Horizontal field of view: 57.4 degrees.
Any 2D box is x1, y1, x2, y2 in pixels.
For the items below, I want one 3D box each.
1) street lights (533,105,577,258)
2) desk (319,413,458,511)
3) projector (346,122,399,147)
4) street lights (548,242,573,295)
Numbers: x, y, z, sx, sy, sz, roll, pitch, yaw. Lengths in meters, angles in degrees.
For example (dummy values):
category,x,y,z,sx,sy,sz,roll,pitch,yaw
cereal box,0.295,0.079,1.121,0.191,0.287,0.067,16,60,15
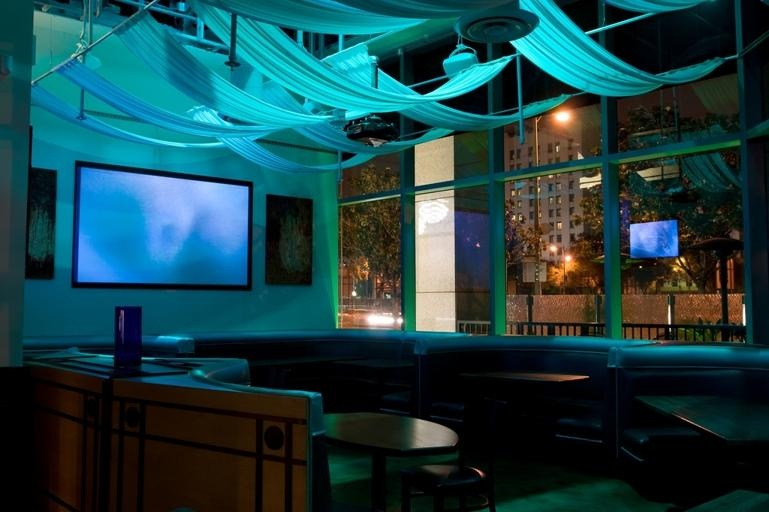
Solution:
category,x,y,z,sx,sy,sz,roll,pitch,yaw
street lights,2.084,-0.903,8.735,0.310,1.847,0.737,-3,10,-36
desk,0.014,1.473,4.794,0.927,0.678,0.824,3,8,2
projector,-0.098,-1.308,7.738,0.280,0.129,0.402,-2,-5,43
street lights,2.175,0.181,8.694,0.077,0.586,0.283,-2,9,-30
